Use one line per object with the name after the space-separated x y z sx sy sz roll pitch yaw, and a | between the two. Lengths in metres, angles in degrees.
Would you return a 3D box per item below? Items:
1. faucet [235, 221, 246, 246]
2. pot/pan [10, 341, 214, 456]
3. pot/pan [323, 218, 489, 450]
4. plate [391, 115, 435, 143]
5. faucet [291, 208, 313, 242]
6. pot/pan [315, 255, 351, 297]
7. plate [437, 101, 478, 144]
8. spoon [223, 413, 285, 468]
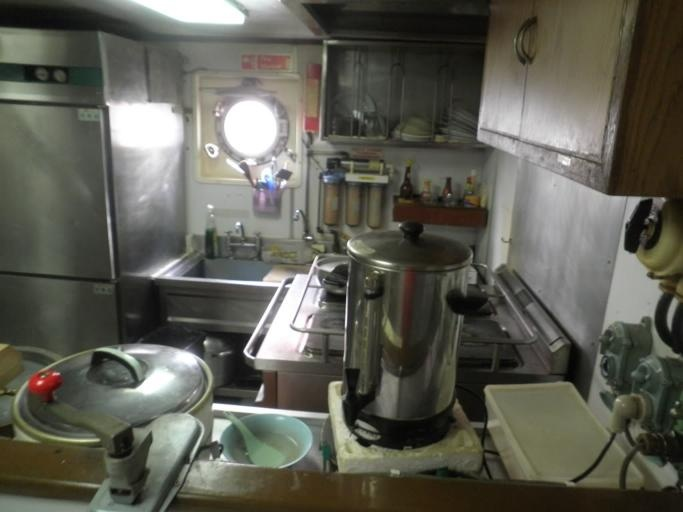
-0.777 -0.178 4.166 0.074 0.161 0.068 -1 16 -9 | faucet
-0.519 0.310 1.331 0.331 0.234 0.337 2 20 -8 | pot/pan
0.122 0.146 1.619 0.465 0.585 0.524 16 23 41 | pot/pan
0.478 -0.838 3.594 0.262 0.149 0.187 4 16 8 | plate
-0.293 -0.230 4.108 0.185 0.233 0.077 4 16 11 | faucet
-0.028 0.095 2.624 0.170 0.074 0.172 13 20 16 | pot/pan
0.719 -0.885 3.579 0.292 0.307 0.139 5 -3 -2 | plate
-0.239 0.490 1.495 0.087 0.044 0.280 -11 18 -30 | spoon
